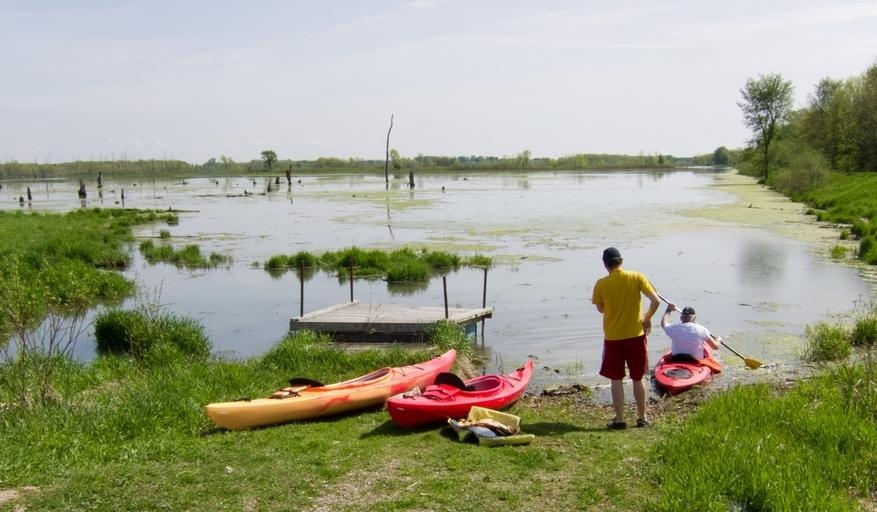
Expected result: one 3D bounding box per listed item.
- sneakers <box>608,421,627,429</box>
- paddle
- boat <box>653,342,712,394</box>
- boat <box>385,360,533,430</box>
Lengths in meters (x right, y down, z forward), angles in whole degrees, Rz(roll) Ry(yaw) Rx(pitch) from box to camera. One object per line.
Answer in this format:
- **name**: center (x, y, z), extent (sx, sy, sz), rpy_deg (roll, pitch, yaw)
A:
- **sneakers**: center (4.869, 4.656, 22.545), extent (0.508, 0.206, 0.218), rpy_deg (3, 6, 34)
- **paddle**: center (8.835, 2.442, 27.135), extent (3.848, 0.631, 0.178), rpy_deg (40, 26, 3)
- **boat**: center (7.311, 3.676, 24.850), extent (1.687, 0.769, 1.211), rpy_deg (-2, 4, -6)
- **boat**: center (0.827, 4.038, 23.514), extent (4.718, 1.244, 1.490), rpy_deg (-7, 15, -29)
